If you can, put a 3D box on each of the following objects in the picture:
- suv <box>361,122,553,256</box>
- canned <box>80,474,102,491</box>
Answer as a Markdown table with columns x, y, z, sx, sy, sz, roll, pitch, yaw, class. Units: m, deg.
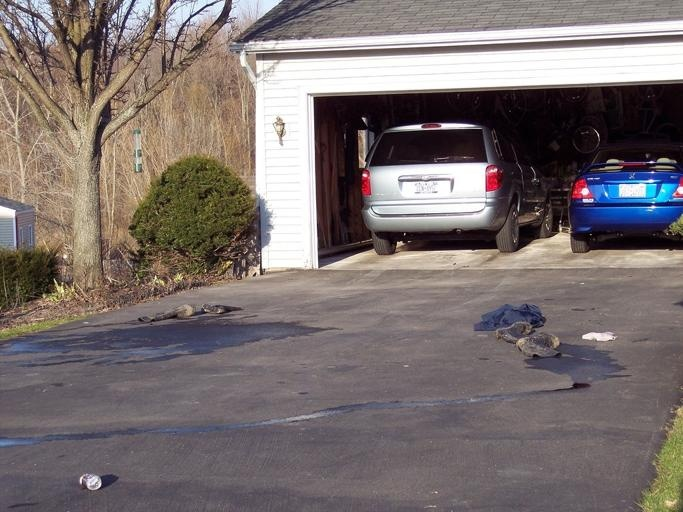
| x | y | z | sx | sy | sz | roll | pitch | yaw | class |
| --- | --- | --- | --- | --- | --- | --- | --- | --- | --- |
| 2.053 | -1.137 | 14.240 | 3.492 | 2.325 | 2.156 | -3 | 7 | -9 | suv |
| -1.491 | 1.350 | 4.904 | 0.134 | 0.067 | 0.177 | -4 | 7 | -18 | canned |
